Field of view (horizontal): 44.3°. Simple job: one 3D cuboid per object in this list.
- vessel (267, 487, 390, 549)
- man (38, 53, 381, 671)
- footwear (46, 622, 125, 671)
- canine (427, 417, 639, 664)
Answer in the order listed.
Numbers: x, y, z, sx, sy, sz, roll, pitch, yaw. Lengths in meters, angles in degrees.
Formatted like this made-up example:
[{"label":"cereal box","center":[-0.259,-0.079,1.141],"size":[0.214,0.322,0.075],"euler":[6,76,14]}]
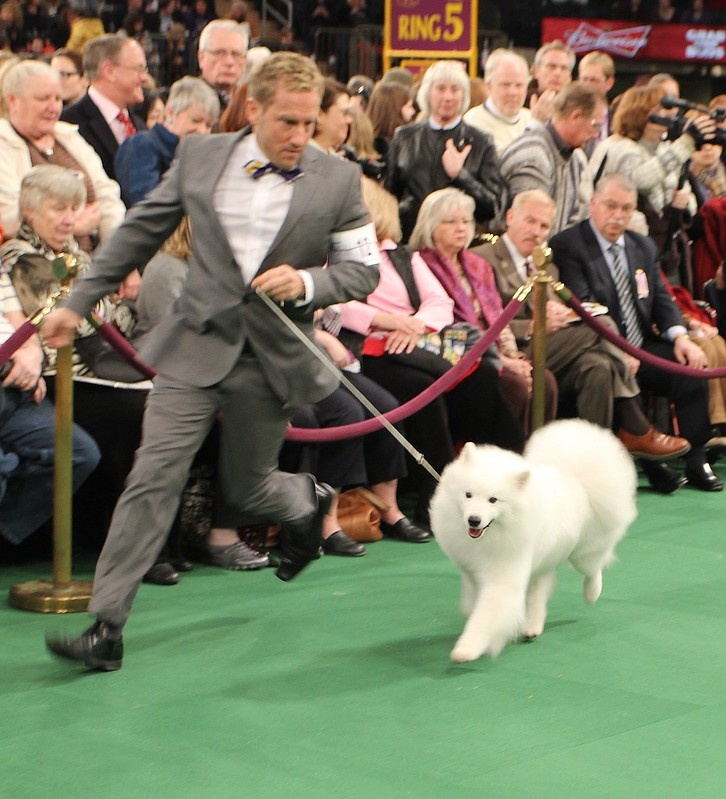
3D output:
[{"label":"vessel","center":[-0.158,0.628,4.569],"size":[0.251,0.233,0.732],"euler":[-12,-9,39]},{"label":"man","center":[-0.438,-0.068,2.867],"size":[0.954,1.900,0.660],"euler":[1,3,15]},{"label":"footwear","center":[-0.888,0.772,2.810],"size":[0.260,0.154,0.094],"euler":[23,-40,-36]},{"label":"canine","center":[0.588,0.488,3.202],"size":[0.373,0.787,0.932],"euler":[3,3,42]}]
